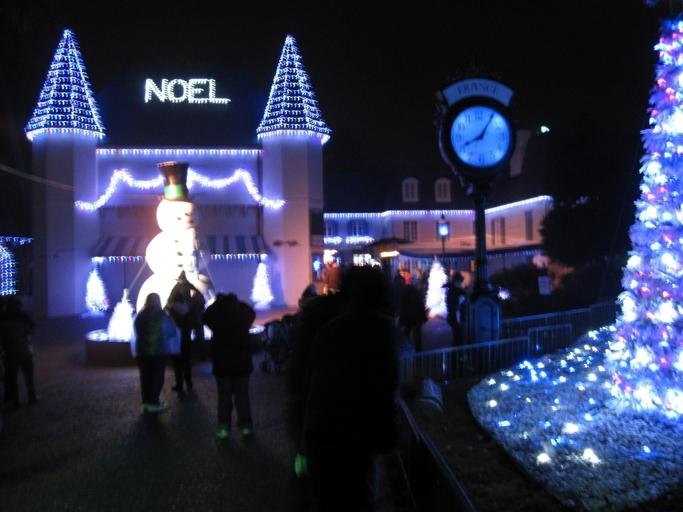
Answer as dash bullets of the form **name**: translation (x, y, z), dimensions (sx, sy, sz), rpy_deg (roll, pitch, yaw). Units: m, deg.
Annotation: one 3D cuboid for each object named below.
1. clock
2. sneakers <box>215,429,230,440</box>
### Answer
- **clock**: translation (3.105, -2.523, 14.368), dimensions (1.211, 1.313, 1.266), rpy_deg (-1, 9, 19)
- **sneakers**: translation (-2.097, 3.153, 11.824), dimensions (0.175, 0.134, 0.178), rpy_deg (-1, 0, 40)
